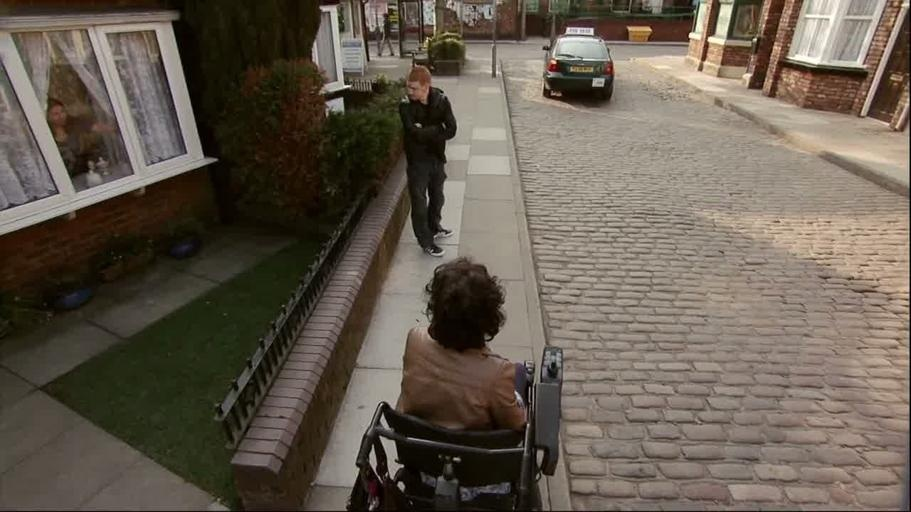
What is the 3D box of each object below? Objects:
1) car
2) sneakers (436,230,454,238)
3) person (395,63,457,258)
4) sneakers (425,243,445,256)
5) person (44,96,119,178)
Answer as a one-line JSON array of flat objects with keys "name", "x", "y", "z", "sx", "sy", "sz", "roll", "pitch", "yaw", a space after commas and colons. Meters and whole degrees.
[{"name": "car", "x": 4.163, "y": -6.277, "z": 18.828, "sx": 2.218, "sy": 1.820, "sz": 2.197, "roll": 3, "pitch": 30, "yaw": 5}, {"name": "sneakers", "x": -0.202, "y": -0.439, "z": 10.681, "sx": 0.375, "sy": 0.142, "sz": 0.122, "roll": -6, "pitch": 51, "yaw": -2}, {"name": "person", "x": -0.490, "y": -1.617, "z": 9.879, "sx": 0.930, "sy": 3.219, "sz": 1.078, "roll": 3, "pitch": 32, "yaw": 6}, {"name": "sneakers", "x": -0.363, "y": -0.110, "z": 10.270, "sx": 0.378, "sy": 0.133, "sz": 0.184, "roll": 5, "pitch": 35, "yaw": 16}, {"name": "person", "x": -6.550, "y": -2.098, "z": 9.611, "sx": 0.770, "sy": 1.339, "sz": 0.973, "roll": -3, "pitch": 75, "yaw": -8}]
